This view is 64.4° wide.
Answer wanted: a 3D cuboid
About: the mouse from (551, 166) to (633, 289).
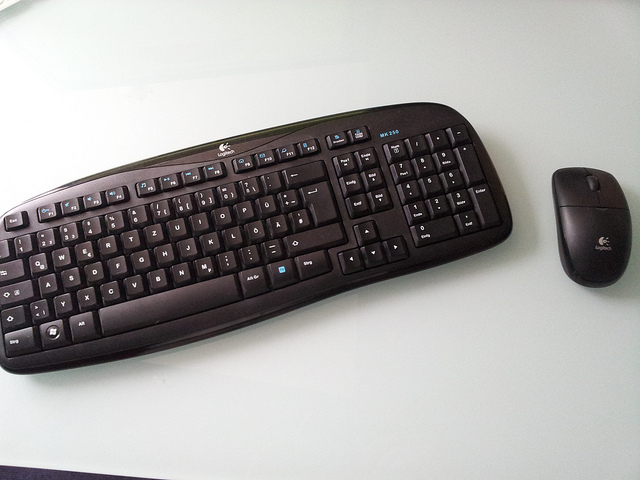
[{"bbox_3d":[0.380,-0.018,0.732,0.099,0.170,0.050,3,-16,-5],"label":"mouse"}]
